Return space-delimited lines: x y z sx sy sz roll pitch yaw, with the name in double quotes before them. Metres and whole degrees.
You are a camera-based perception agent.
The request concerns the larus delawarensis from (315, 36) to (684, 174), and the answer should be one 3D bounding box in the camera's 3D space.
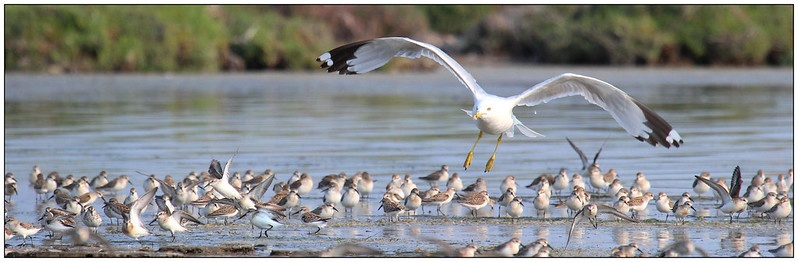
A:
"larus delawarensis" 8.846 -2.383 95.964 35.317 6.774 16.152 13 8 7
